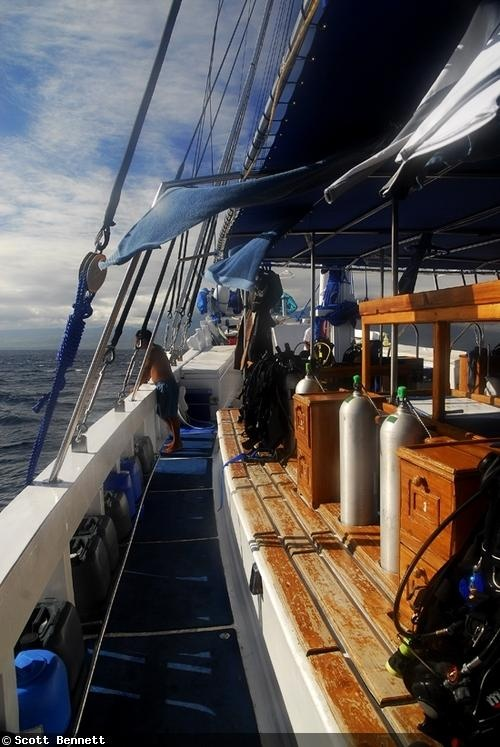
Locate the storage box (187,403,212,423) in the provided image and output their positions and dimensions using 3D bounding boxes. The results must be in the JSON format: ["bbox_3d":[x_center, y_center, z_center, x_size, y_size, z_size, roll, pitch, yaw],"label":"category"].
[{"bbox_3d":[-0.731,0.614,7.052,0.428,0.423,0.235,-1,-9,-2],"label":"storage box"}]

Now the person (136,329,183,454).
[{"bbox_3d":[-1.101,0.273,5.737,0.442,1.316,0.981,-4,7,-10],"label":"person"}]

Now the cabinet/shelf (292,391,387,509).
[{"bbox_3d":[0.488,0.394,2.738,0.557,0.870,0.510,0,2,-5],"label":"cabinet/shelf"}]

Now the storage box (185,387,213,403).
[{"bbox_3d":[-0.785,0.328,6.982,0.349,0.208,0.102,-1,7,15],"label":"storage box"}]
